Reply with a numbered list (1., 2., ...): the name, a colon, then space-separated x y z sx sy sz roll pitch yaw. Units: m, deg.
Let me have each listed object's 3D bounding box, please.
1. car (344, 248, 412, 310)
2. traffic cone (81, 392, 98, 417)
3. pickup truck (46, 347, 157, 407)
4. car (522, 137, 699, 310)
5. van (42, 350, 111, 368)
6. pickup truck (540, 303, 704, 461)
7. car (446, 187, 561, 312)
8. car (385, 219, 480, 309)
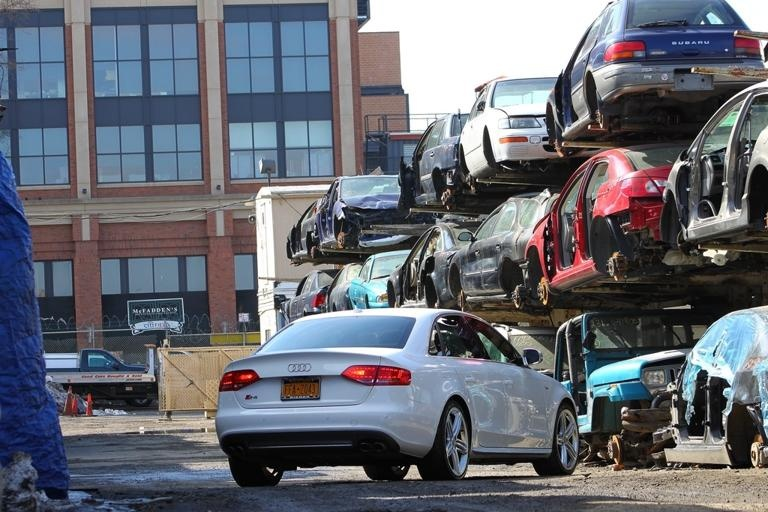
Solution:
1. car: -0.194 0.388 42.206 1.252 2.767 0.997 4 10 -8
2. traffic cone: -9.754 4.832 55.856 0.741 0.951 0.728 2 -3 3
3. pickup truck: -9.656 4.158 59.049 4.961 2.006 1.891 -1 -2 -5
4. car: 4.716 -0.696 33.342 2.747 2.489 5.837 -4 -5 -15
5. van: -10.555 3.533 58.669 2.454 1.003 1.545 -1 0 -6
6. pickup truck: 5.165 2.392 33.228 3.232 2.928 5.076 -8 -6 -12
7. car: 3.165 -0.029 36.410 2.347 2.489 5.338 -1 -3 -17
8. car: 1.197 0.197 38.772 2.087 2.130 4.386 0 -1 -9
